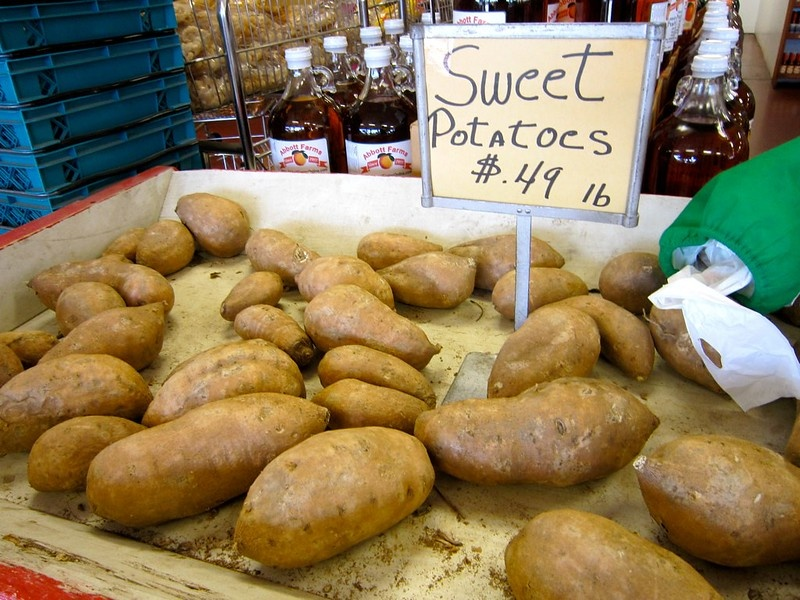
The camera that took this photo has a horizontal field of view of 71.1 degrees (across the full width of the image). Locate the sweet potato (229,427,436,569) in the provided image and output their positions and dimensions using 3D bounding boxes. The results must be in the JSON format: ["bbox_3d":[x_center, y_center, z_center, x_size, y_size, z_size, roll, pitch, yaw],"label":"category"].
[{"bbox_3d":[-0.105,0.299,0.921,0.309,0.172,0.160,-23,2,-17],"label":"sweet potato"}]

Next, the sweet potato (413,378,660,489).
[{"bbox_3d":[0.243,0.237,1.001,0.408,0.180,0.198,-6,26,2],"label":"sweet potato"}]

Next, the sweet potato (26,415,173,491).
[{"bbox_3d":[-0.533,0.269,1.029,0.204,0.116,0.112,-12,17,-6],"label":"sweet potato"}]

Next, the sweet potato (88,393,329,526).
[{"bbox_3d":[-0.313,0.259,1.001,0.385,0.149,0.173,-17,39,-15],"label":"sweet potato"}]
